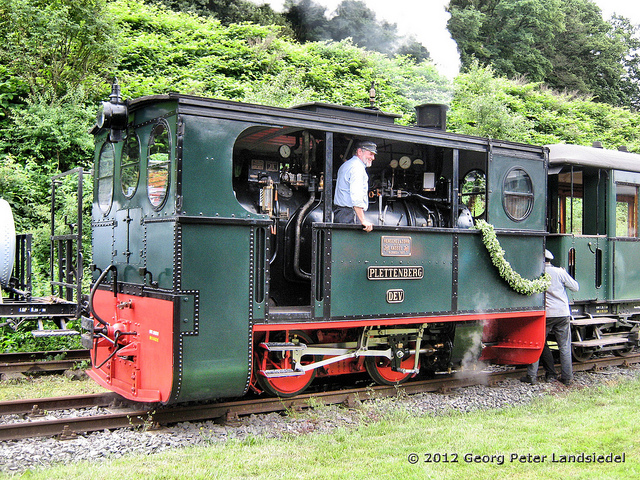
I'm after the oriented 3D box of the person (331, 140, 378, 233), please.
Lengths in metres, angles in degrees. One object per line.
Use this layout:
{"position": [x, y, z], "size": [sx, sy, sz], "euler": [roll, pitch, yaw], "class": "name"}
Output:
{"position": [0.495, -0.823, 8.204], "size": [0.591, 1.348, 1.352], "euler": [2, 4, 2], "class": "person"}
